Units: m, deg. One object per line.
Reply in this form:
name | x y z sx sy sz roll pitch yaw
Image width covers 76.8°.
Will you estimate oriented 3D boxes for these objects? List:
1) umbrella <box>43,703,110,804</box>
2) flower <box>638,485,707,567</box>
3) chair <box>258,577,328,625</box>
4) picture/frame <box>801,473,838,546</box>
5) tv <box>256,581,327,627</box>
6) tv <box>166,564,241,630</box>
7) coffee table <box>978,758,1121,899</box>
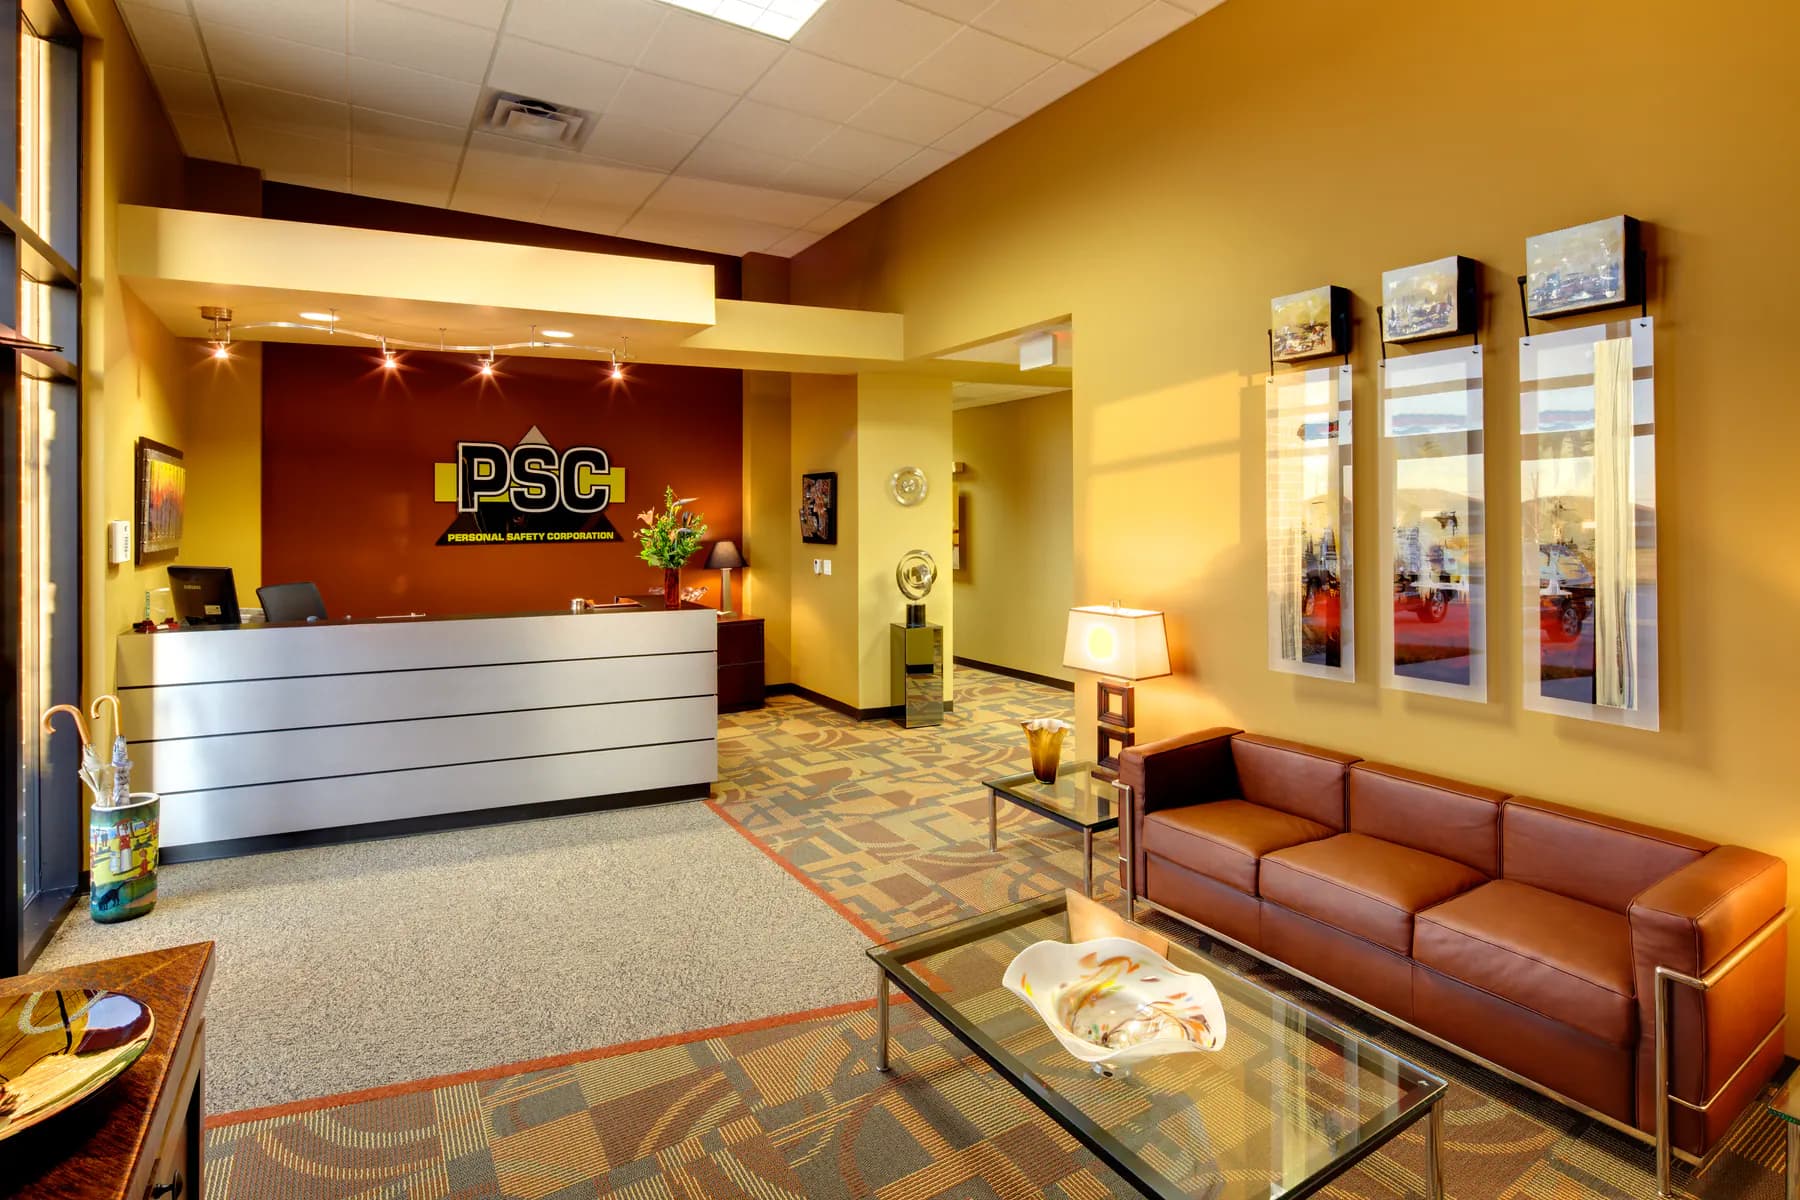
umbrella | -4.095 0.754 5.640 0.249 0.573 0.595 -6 9 -36
flower | -1.784 -0.488 8.754 0.524 0.532 0.501 5 0 3
chair | -3.563 0.036 6.723 0.416 0.341 0.301 -6 1 39
picture/frame | -0.665 -0.748 9.463 0.065 0.600 0.608 -3 5 -26
tv | -3.541 0.033 6.604 0.313 0.202 0.573 -5 9 -29
tv | -3.931 0.003 6.378 0.376 0.361 0.132 0 -18 -41
coffee table | 0.920 1.153 6.093 0.565 0.339 0.720 -6 8 -35
